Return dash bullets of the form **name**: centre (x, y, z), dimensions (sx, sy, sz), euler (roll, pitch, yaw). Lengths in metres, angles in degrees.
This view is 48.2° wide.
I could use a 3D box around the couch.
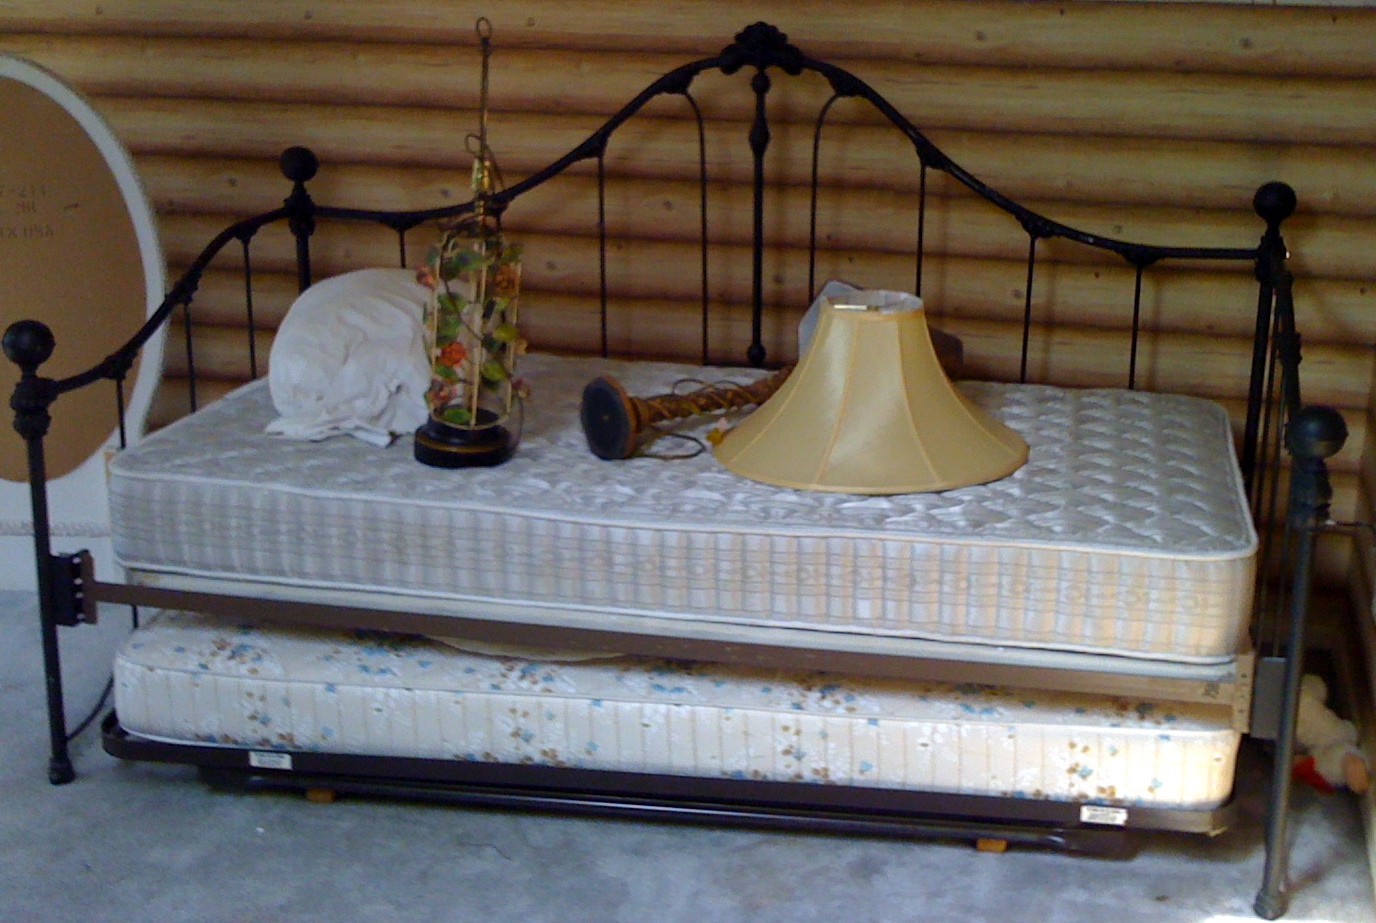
- **couch**: centre (-0.230, -0.137, 4.032), dimensions (3.615, 2.109, 1.527), euler (3, 2, 16)
